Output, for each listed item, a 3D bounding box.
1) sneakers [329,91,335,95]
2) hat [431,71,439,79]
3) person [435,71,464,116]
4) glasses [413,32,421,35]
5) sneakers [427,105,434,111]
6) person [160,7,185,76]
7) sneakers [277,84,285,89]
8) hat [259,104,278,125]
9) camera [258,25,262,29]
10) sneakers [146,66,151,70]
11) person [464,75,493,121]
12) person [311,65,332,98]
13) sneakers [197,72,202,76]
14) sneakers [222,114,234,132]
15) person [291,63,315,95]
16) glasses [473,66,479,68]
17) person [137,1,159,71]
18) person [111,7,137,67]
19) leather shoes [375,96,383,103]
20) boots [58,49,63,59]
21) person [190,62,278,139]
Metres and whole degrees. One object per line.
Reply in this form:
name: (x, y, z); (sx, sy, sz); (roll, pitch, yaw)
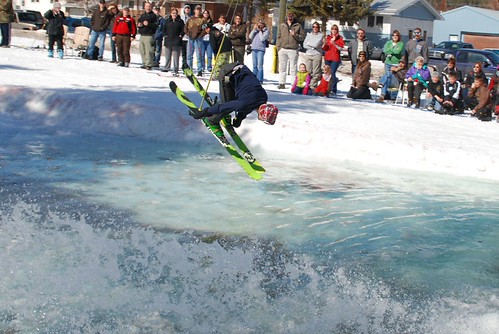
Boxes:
sneakers: (2.621, -2.355, 13.512); (0.173, 0.165, 0.469); (2, 6, 6)
hat: (5.186, -2.586, 11.911); (0.192, 0.169, 0.235); (-1, -1, -3)
person: (5.665, -2.073, 11.930); (0.762, 1.174, 0.450); (5, 9, 8)
glasses: (4.966, -3.984, 12.663); (0.147, 0.055, 0.182); (13, 15, 40)
sneakers: (5.234, -1.735, 12.430); (0.095, 0.104, 0.253); (13, 11, -9)
person: (-2.521, -4.120, 14.135); (0.685, 2.173, 0.999); (1, 10, -17)
sneakers: (1.029, -2.610, 13.704); (0.107, 0.116, 0.305); (25, 31, 21)
hat: (0.303, -0.900, 7.216); (0.300, 0.340, 0.250); (3, 9, -3)
camera: (0.322, -4.324, 13.112); (0.169, 0.087, 0.145); (3, 9, 0)
sneakers: (-3.518, -3.491, 14.963); (0.083, 0.103, 0.038); (12, 8, 19)
person: (6.388, -1.900, 11.793); (0.655, 1.191, 0.867); (7, 10, 19)
person: (2.246, -2.592, 12.898); (0.433, 0.903, 0.431); (-1, 11, -28)
sneakers: (-1.682, -3.111, 14.222); (0.105, 0.175, 0.180); (-8, 52, -11)
sneakers: (-0.326, -0.853, 8.122); (0.272, 0.352, 0.133); (9, 34, 42)
person: (1.527, -2.722, 13.124); (0.689, 0.804, 0.618); (0, 30, 15)
glasses: (6.203, -2.758, 11.665); (0.128, 0.092, 0.073); (7, 10, 22)
person: (-3.473, -4.456, 14.531); (0.674, 2.182, 1.110); (2, 9, -12)
person: (-4.281, -4.453, 14.530); (0.722, 1.963, 1.037); (1, 10, -18)
leather shoes: (3.936, -2.049, 12.866); (0.220, 0.194, 0.364); (6, 9, 15)
boots: (-6.832, -4.125, 15.423); (0.141, 0.344, 0.161); (-13, 6, -17)
person: (-0.256, -1.181, 7.385); (1.403, 1.267, 0.638); (12, 12, 43)
